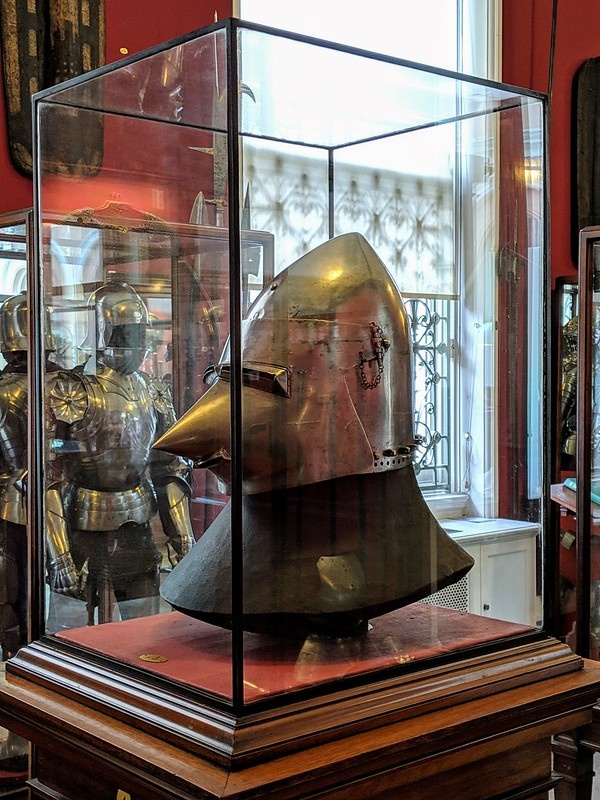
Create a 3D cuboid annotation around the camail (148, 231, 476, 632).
[{"bbox_3d":[0.006,0.024,0.826,0.286,0.392,0.231,-1,1,-24],"label":"camail"}]
